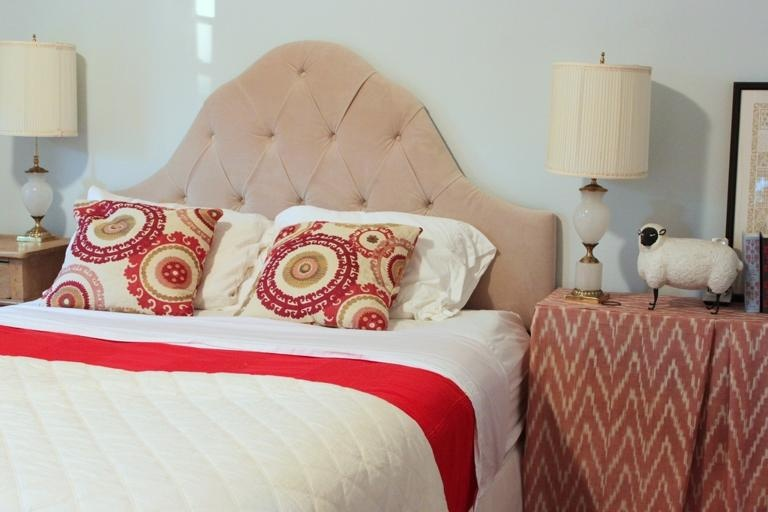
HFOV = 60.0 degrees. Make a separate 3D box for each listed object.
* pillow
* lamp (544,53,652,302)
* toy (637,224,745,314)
[{"bbox_3d":[-0.489,0.020,2.919,1.846,0.465,0.538,3,6,9],"label":"pillow"},{"bbox_3d":[0.870,-0.323,2.755,0.397,1.011,0.236,4,7,20],"label":"lamp"},{"bbox_3d":[1.186,0.053,2.751,0.462,0.406,0.248,6,8,20],"label":"toy"}]
